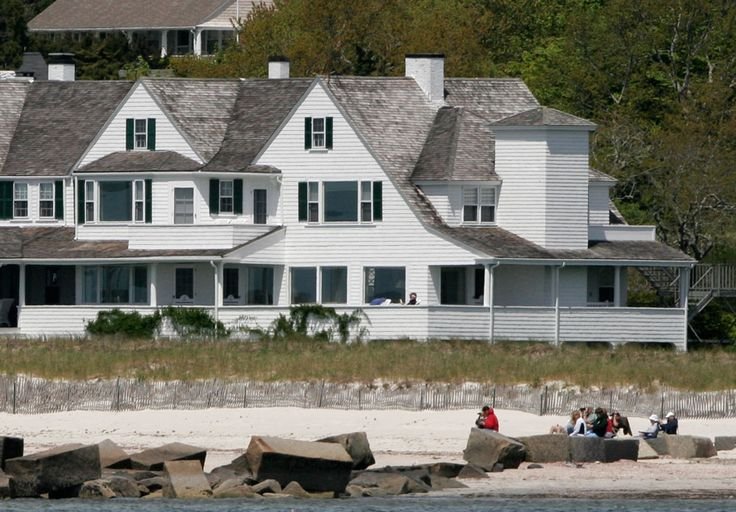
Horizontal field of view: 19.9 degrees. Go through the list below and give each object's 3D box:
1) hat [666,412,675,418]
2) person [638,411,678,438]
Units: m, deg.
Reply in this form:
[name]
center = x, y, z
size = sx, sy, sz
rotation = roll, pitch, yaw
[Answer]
[hat]
center = 13.018, 6.918, 89.667
size = 0.328, 0.184, 0.234
rotation = 3, 2, 21
[person]
center = 12.550, 7.388, 89.739
size = 1.575, 0.903, 0.889
rotation = 0, -1, 10
